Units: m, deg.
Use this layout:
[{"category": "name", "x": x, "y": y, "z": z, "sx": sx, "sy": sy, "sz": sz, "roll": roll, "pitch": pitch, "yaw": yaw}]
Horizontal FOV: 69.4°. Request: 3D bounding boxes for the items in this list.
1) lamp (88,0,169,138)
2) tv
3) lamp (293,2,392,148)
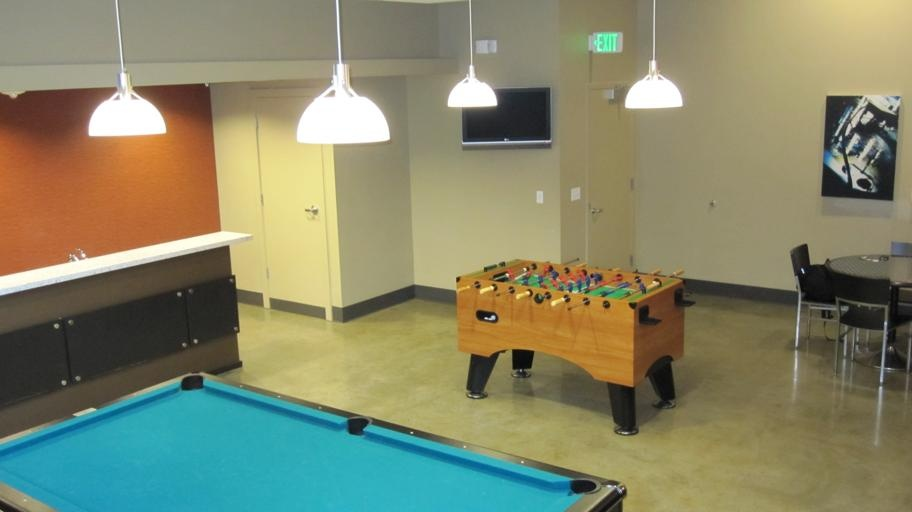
[{"category": "lamp", "x": -2.962, "y": -1.578, "z": 5.862, "sx": 0.613, "sy": 0.992, "sz": 0.423, "roll": 0, "pitch": 13, "yaw": 0}, {"category": "tv", "x": 0.791, "y": -2.000, "z": 9.448, "sx": 1.122, "sy": 0.666, "sz": 0.074, "roll": 1, "pitch": 6, "yaw": 18}, {"category": "lamp", "x": -0.835, "y": -1.348, "z": 4.799, "sx": 0.670, "sy": 1.048, "sz": 0.553, "roll": -3, "pitch": 13, "yaw": -10}]
